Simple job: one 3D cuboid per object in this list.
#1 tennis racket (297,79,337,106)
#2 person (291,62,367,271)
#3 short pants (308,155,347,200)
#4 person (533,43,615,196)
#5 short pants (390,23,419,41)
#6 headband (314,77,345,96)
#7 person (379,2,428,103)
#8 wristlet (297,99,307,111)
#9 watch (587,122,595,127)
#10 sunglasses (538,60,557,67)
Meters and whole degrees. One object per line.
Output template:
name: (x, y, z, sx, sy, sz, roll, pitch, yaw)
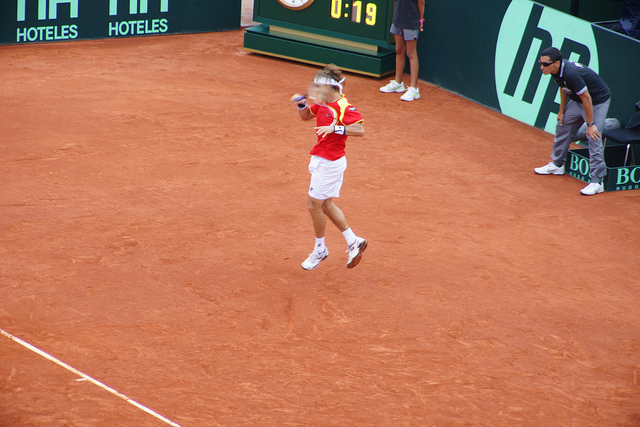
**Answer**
tennis racket: (-0.041, -1.397, 7.266, 0.525, 0.248, 0.262, -2, 10, 8)
person: (0.129, -0.575, 7.752, 0.983, 2.488, 1.233, 4, 21, 1)
short pants: (0.071, -0.416, 7.376, 0.413, 0.520, 0.233, 1, 22, -4)
person: (3.935, -1.402, 9.612, 1.295, 2.157, 0.772, 11, 23, 20)
short pants: (1.648, -3.544, 12.230, 0.430, 0.335, 0.243, 23, 39, 29)
headband: (0.089, -1.446, 7.142, 0.283, 0.108, 0.170, 10, 5, -5)
person: (1.835, -3.284, 12.821, 0.819, 1.909, 1.295, 10, 22, 16)
wristlet: (-0.201, -1.262, 7.362, 0.128, 0.109, 0.130, -3, 39, 6)
watch: (4.022, -1.329, 9.334, 0.101, 0.054, 0.116, -2, 6, 3)
sunglasses: (3.382, -2.209, 9.291, 0.195, 0.088, 0.106, 11, 21, 25)
